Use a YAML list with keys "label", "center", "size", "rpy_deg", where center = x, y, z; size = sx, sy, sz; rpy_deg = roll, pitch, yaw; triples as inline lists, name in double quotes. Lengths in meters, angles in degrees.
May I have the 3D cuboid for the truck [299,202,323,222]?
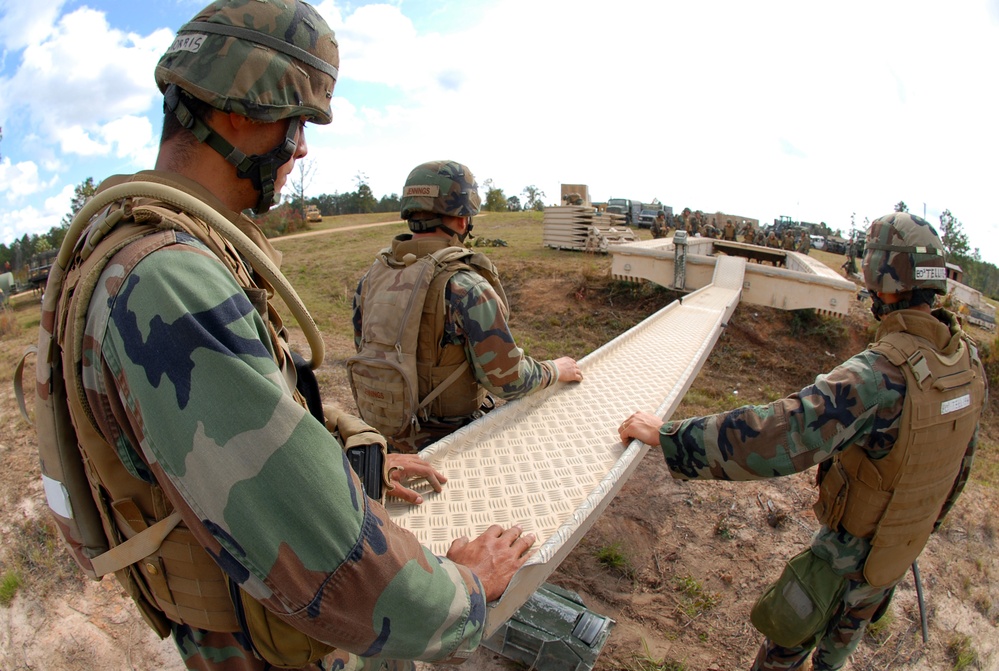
- label: "truck"
  center: [-10.163, -6.569, 33.107]
  size: [1.106, 0.998, 1.832]
  rpy_deg: [-11, 14, -23]
